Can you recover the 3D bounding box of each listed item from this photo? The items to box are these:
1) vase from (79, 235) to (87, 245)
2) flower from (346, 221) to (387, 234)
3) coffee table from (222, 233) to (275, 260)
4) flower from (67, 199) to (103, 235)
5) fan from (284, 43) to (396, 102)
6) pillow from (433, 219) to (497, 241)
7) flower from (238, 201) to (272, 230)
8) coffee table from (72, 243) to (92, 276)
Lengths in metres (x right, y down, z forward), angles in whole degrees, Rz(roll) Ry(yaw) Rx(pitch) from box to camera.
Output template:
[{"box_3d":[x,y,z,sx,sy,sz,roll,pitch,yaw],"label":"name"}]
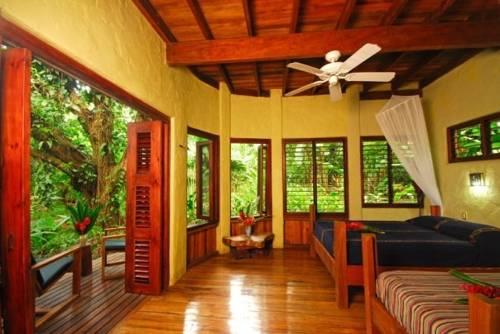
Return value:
[{"box_3d":[-2.861,1.245,5.592,0.102,0.173,0.160,-8,15,-31],"label":"vase"},{"box_3d":[1.895,1.017,5.439,0.440,0.099,0.271,3,-3,43],"label":"flower"},{"box_3d":[-0.059,1.601,6.758,1.018,0.384,0.553,-1,12,-6],"label":"coffee table"},{"box_3d":[-2.909,0.898,5.783,0.385,0.592,0.478,8,15,30],"label":"flower"},{"box_3d":[1.322,-1.425,4.896,1.492,0.440,1.310,10,47,39],"label":"fan"},{"box_3d":[3.156,0.918,4.897,0.324,0.119,0.473,-11,2,-12],"label":"pillow"},{"box_3d":[-0.036,0.993,7.015,0.543,0.383,0.611,15,5,-4],"label":"flower"},{"box_3d":[-2.881,1.620,5.694,0.223,0.469,0.213,0,-14,-35],"label":"coffee table"}]
